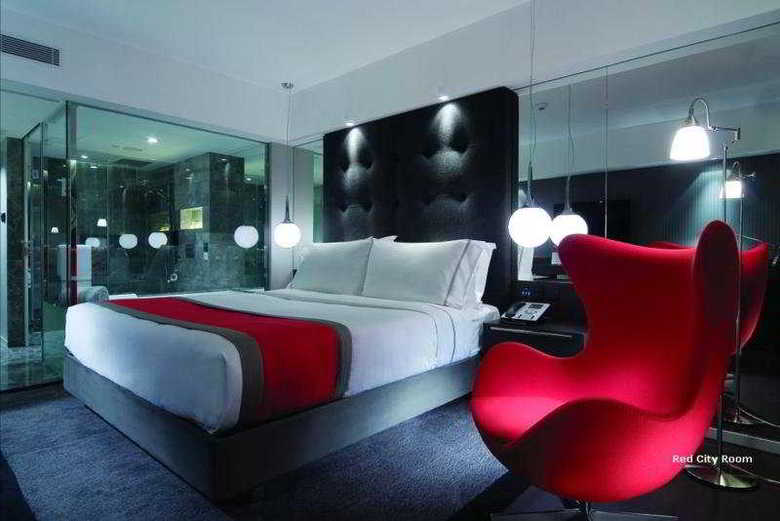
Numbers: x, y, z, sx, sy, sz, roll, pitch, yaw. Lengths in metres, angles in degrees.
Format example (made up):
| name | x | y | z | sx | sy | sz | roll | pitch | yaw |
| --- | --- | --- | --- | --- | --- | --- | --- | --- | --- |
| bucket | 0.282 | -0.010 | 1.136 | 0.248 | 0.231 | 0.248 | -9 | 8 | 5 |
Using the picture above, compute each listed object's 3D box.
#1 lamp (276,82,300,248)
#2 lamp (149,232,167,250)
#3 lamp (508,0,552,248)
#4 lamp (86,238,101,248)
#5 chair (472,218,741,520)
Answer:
| name | x | y | z | sx | sy | sz | roll | pitch | yaw |
| --- | --- | --- | --- | --- | --- | --- | --- | --- | --- |
| lamp | -1.192 | -1.019 | 5.692 | 0.299 | 1.938 | 1.068 | -3 | 14 | -11 |
| lamp | -2.394 | -0.198 | 5.208 | 0.141 | 0.151 | 0.151 | 5 | 4 | -6 |
| lamp | 1.155 | -1.036 | 3.898 | 0.303 | 1.976 | 0.672 | 4 | 14 | 18 |
| lamp | -2.866 | -0.173 | 4.858 | 0.109 | 0.102 | 0.086 | 5 | 6 | 39 |
| chair | 1.143 | 0.596 | 3.258 | 1.523 | 1.882 | 1.581 | 1 | 1 | -10 |
